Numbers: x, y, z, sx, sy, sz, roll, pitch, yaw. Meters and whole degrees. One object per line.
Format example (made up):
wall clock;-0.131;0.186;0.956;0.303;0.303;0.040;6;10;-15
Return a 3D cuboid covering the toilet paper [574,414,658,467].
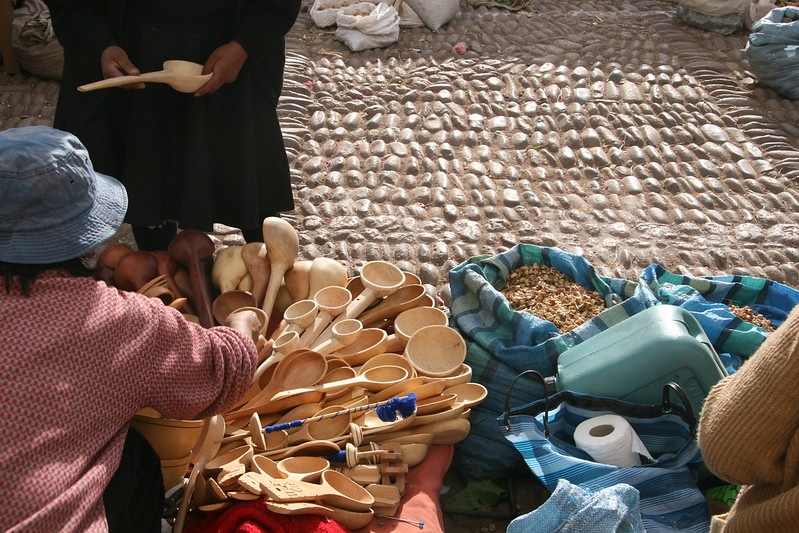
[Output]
toilet paper;1.171;0.976;3.551;0.275;0.276;0.278;-24;18;17

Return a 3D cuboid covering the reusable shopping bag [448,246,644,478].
reusable shopping bag;0.762;0.446;4.122;1.312;0.440;1.159;-36;44;-26

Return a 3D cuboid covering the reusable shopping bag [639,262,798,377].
reusable shopping bag;2.047;0.216;4.262;0.734;0.224;0.725;-23;40;-39
